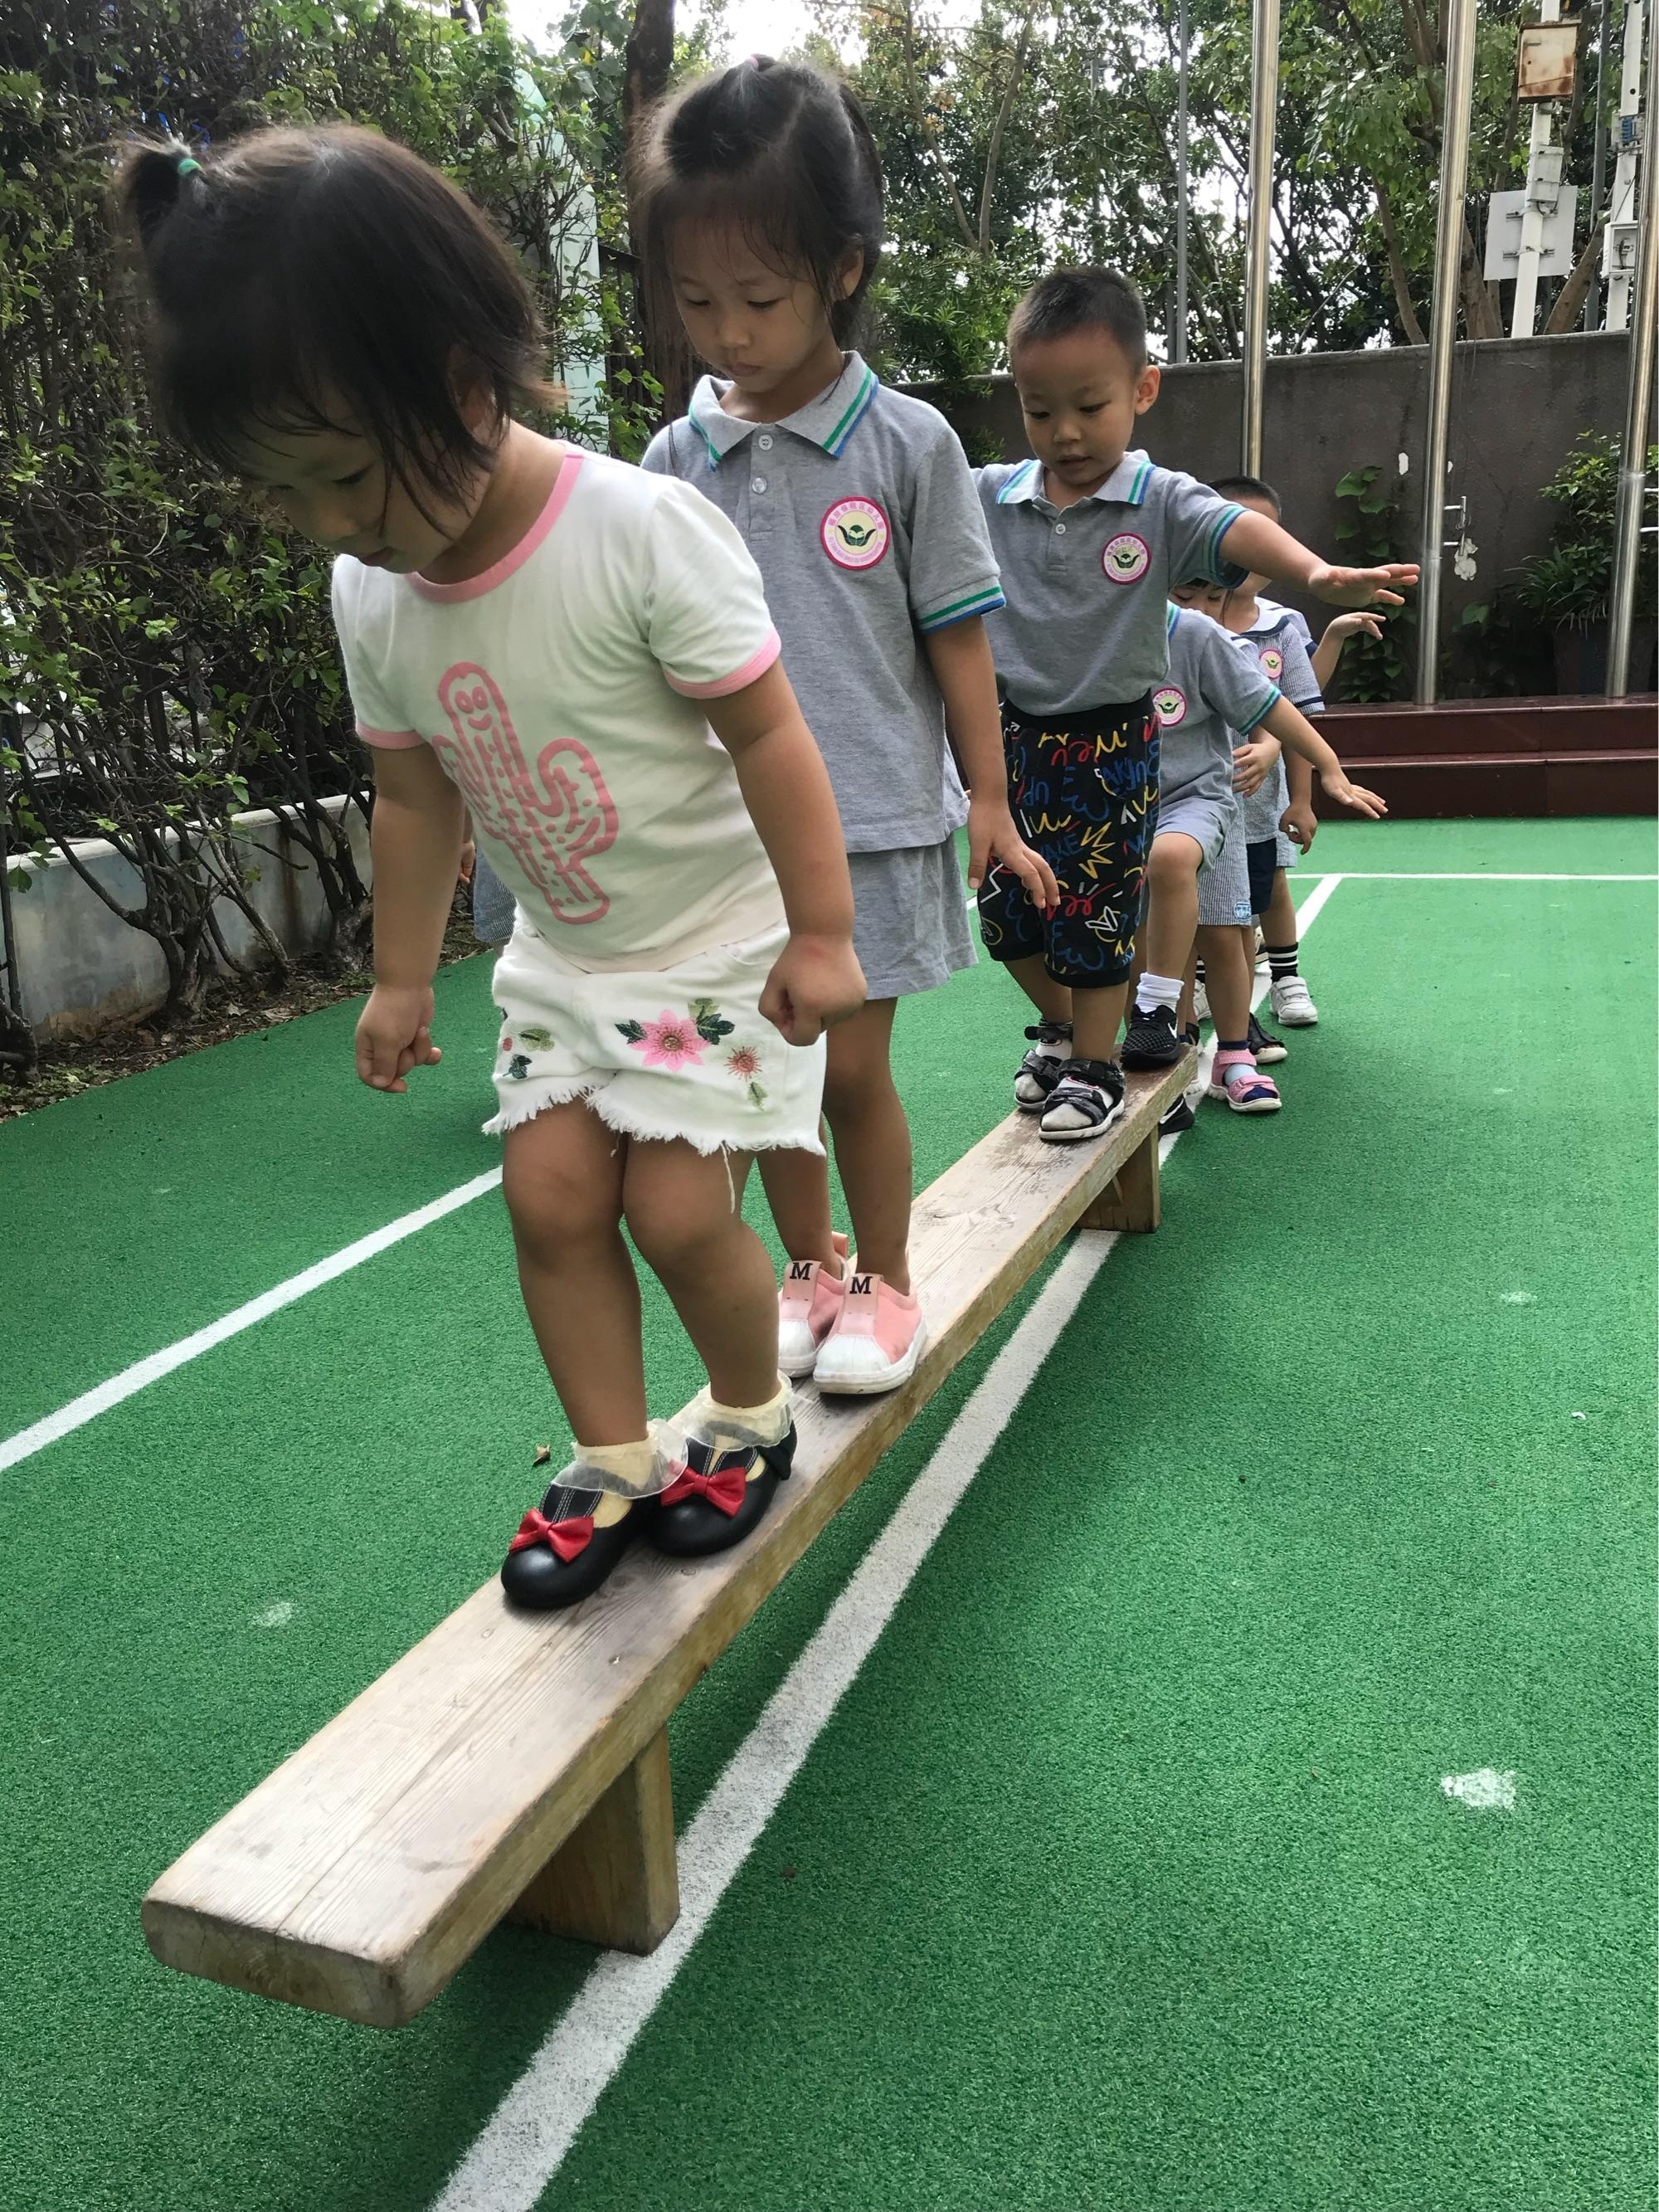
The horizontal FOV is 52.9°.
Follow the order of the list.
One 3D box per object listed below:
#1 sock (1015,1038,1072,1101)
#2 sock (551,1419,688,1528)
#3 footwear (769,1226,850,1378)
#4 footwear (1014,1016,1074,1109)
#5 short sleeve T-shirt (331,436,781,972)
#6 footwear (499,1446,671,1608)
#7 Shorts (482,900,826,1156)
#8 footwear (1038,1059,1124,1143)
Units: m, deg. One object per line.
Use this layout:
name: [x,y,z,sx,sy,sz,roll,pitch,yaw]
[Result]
sock: [0.457,-0.079,3.566,0.068,0.082,0.198,5,26,20]
sock: [-0.212,0.362,1.723,0.068,0.065,0.172,5,17,19]
footwear: [-0.017,0.281,2.223,0.063,0.071,0.182,2,29,18]
footwear: [0.450,-0.099,3.581,0.083,0.100,0.243,4,22,19]
short sleeve T-shirt: [-0.248,-0.363,1.585,0.488,0.452,0.233,-5,30,26]
footwear: [-0.242,0.397,1.661,0.088,0.075,0.203,10,25,21]
Shorts: [-0.160,-0.059,1.579,0.300,0.218,0.113,-3,-18,-6]
footwear: [0.470,-0.004,3.167,0.095,0.098,0.242,1,12,17]
